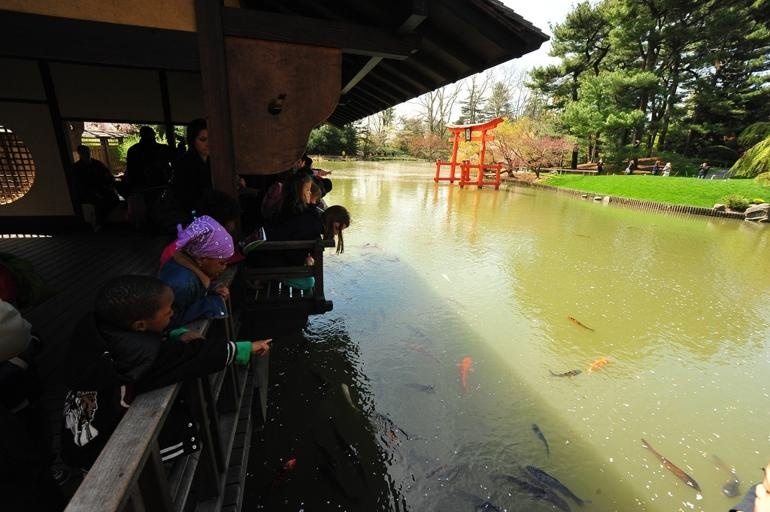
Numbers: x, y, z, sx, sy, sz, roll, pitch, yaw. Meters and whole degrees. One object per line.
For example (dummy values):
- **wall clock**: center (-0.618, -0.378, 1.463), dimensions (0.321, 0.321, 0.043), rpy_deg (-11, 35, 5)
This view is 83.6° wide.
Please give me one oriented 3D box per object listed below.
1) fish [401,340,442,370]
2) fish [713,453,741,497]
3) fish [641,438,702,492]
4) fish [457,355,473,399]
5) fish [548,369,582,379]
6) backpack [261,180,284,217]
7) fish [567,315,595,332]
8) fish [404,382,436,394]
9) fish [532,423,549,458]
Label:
- **fish**: center (0.478, 1.184, 5.393), dimensions (0.204, 0.169, 0.409), rpy_deg (-10, 30, -37)
- **fish**: center (3.267, 2.098, 4.126), dimensions (0.148, 0.096, 0.258), rpy_deg (6, 43, 11)
- **fish**: center (2.775, 2.009, 4.227), dimensions (0.130, 0.036, 0.722), rpy_deg (-22, 20, -1)
- **fish**: center (0.934, 1.352, 5.089), dimensions (0.078, 0.106, 0.401), rpy_deg (28, 25, 7)
- **fish**: center (2.153, 1.384, 5.176), dimensions (0.466, 0.107, 0.126), rpy_deg (-1, 6, -3)
- **backpack**: center (-1.606, -0.793, 6.090), dimensions (0.186, 0.533, 0.422), rpy_deg (19, 2, -5)
- **fish**: center (2.763, 0.955, 6.109), dimensions (0.356, 0.099, 0.130), rpy_deg (19, 39, 35)
- **fish**: center (0.394, 1.462, 4.871), dimensions (0.334, 0.050, 0.111), rpy_deg (3, 38, 14)
- **fish**: center (1.580, 1.852, 4.396), dimensions (0.059, 0.120, 0.310), rpy_deg (28, 18, -25)
